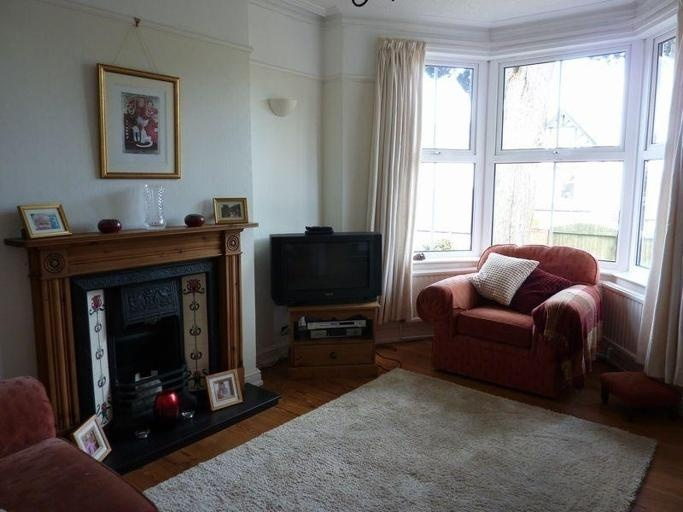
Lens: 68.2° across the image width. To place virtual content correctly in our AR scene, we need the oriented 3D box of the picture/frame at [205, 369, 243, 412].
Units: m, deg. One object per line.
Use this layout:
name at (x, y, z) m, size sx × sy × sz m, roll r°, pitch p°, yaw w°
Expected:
picture/frame at (-0.864, 1.007, 3.727) m, size 0.229 × 0.245 × 0.016 m, roll -8°, pitch -7°, yaw -44°

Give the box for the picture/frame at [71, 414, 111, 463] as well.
picture/frame at (-1.455, 1.074, 2.937) m, size 0.031 × 0.253 × 0.209 m, roll -13°, pitch 24°, yaw 19°

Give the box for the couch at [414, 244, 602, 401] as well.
couch at (1.566, 0.486, 4.438) m, size 1.178 × 1.107 × 1.418 m, roll -5°, pitch 8°, yaw -36°

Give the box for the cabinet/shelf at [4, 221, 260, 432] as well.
cabinet/shelf at (-1.400, 0.467, 3.303) m, size 0.327 × 1.175 × 1.259 m, roll 5°, pitch 9°, yaw 38°
